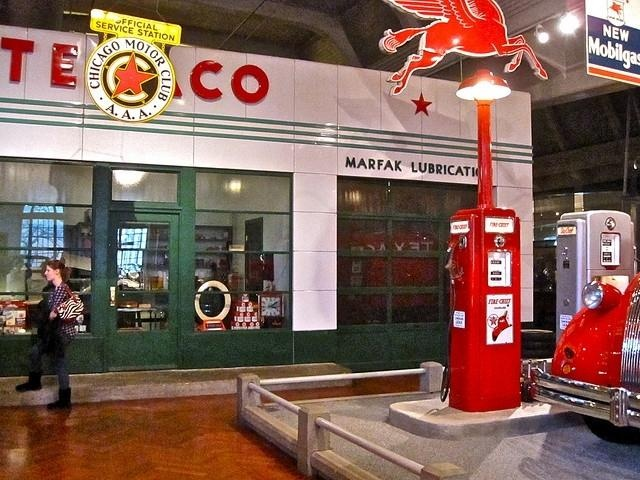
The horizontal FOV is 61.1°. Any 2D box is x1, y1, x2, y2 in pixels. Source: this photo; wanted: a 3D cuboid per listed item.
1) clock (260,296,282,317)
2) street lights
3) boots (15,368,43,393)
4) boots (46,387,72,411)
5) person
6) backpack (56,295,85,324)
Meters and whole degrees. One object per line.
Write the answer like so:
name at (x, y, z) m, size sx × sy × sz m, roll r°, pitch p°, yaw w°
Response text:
clock at (-0.858, 1.122, 9.145) m, size 0.327 × 0.380 × 0.046 m, roll 1°, pitch -2°, yaw -18°
street lights at (1.950, -1.184, 6.441) m, size 0.496 × 1.636 × 0.510 m, roll 2°, pitch -4°, yaw -34°
boots at (-3.992, 1.960, 7.440) m, size 0.384 × 0.331 × 0.178 m, roll 8°, pitch -9°, yaw -15°
boots at (-3.423, 2.136, 7.244) m, size 0.354 × 0.342 × 0.180 m, roll 7°, pitch -7°, yaw -9°
person at (-3.778, 1.289, 7.527) m, size 0.738 × 1.969 × 1.151 m, roll 1°, pitch -4°, yaw -30°
backpack at (-3.400, 0.932, 7.296) m, size 0.244 × 0.363 × 0.477 m, roll -20°, pitch -12°, yaw 37°
